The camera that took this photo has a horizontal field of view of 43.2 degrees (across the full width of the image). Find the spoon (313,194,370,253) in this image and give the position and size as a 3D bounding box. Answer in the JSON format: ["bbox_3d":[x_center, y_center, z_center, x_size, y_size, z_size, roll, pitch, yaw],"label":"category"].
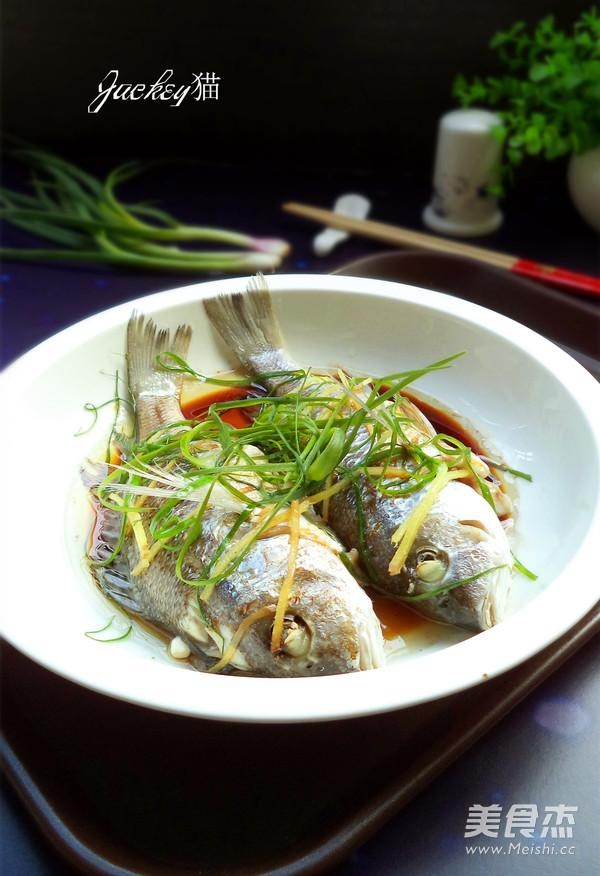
[{"bbox_3d":[0.120,-0.640,2.229,0.114,0.068,0.276,7,47,16],"label":"spoon"}]

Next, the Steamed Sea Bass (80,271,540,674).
[{"bbox_3d":[-0.063,0.071,1.136,0.489,0.215,0.600,-23,42,-26],"label":"Steamed Sea Bass"}]
